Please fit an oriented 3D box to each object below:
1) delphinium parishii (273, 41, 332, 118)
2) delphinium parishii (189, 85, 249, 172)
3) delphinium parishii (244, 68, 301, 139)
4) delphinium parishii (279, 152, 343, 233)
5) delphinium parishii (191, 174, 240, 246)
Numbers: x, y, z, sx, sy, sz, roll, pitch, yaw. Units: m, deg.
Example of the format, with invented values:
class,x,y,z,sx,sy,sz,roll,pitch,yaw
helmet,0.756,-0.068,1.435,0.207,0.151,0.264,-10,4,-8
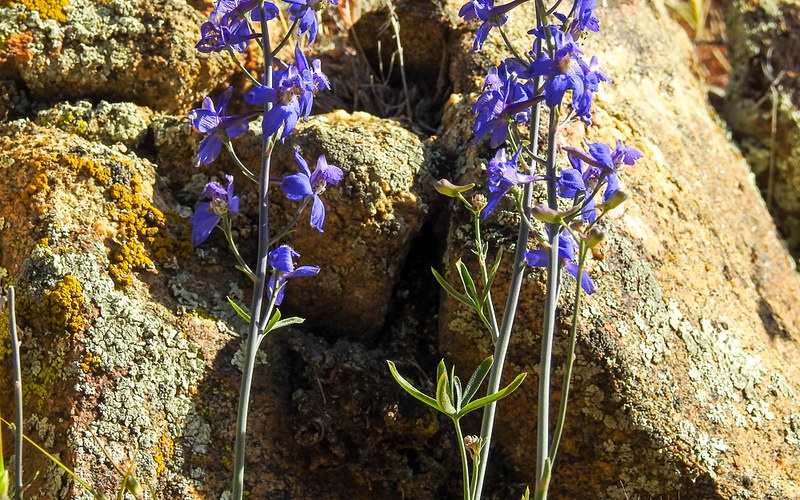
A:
class,x,y,z,sx,sy,sz,roll,pitch,yaw
delphinium parishii,-0.580,-0.937,9.912,0.356,0.452,0.190,3,-19,-2
delphinium parishii,-1.071,-0.768,9.758,0.309,0.240,0.316,-19,12,-15
delphinium parishii,-0.693,-0.849,9.597,0.320,0.381,0.153,15,-3,0
delphinium parishii,-0.537,-0.331,9.846,0.340,0.483,0.259,11,17,-4
delphinium parishii,-1.091,-0.216,9.869,0.243,0.438,0.255,9,17,-12
